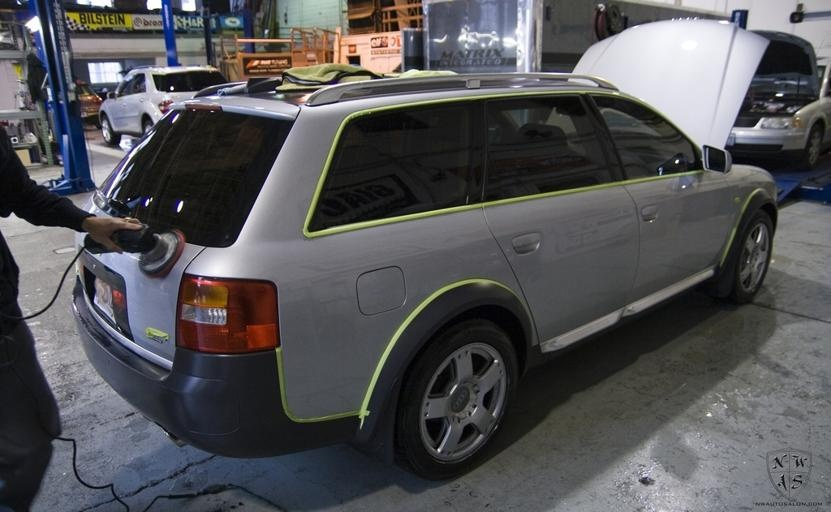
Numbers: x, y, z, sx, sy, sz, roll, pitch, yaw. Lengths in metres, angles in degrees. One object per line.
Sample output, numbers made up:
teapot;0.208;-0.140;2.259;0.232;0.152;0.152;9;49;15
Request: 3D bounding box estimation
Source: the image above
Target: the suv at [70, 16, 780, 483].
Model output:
suv;0.948;-0.737;4.746;6.902;2.751;2.975;-14;23;-33
